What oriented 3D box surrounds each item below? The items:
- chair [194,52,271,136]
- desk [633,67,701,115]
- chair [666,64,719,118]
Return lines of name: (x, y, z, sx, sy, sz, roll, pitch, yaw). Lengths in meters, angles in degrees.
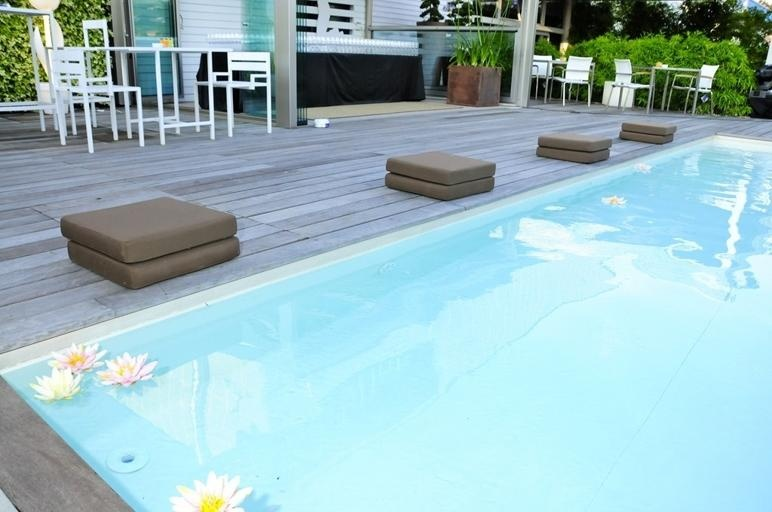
chair: (-2.214, -2.263, 5.866, 0.660, 0.980, 1.094, 23, 29, 34)
desk: (7.074, -4.086, 10.664, 1.478, 1.253, 1.305, -8, 22, -15)
chair: (7.459, -3.999, 10.325, 1.030, 1.086, 1.706, 13, 23, 30)
